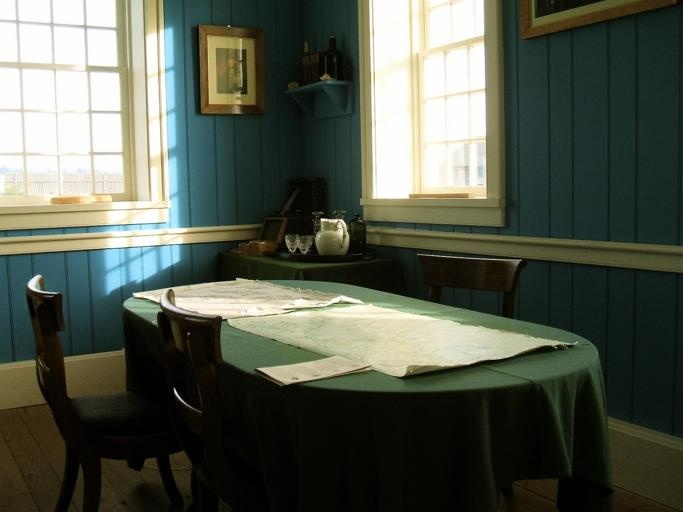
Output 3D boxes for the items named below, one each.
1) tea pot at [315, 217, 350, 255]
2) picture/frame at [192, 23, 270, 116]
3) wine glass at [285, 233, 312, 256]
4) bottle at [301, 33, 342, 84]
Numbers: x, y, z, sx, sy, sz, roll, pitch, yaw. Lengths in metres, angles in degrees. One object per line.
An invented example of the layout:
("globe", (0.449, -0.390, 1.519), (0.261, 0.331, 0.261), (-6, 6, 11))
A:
("tea pot", (-0.054, -0.112, 3.474), (0.173, 0.230, 0.222), (-1, 3, -36))
("picture/frame", (-0.832, -1.386, 4.153), (0.661, 0.840, 0.033), (-2, 3, -32))
("wine glass", (-0.271, -0.084, 3.643), (0.185, 0.156, 0.122), (1, 1, 6))
("bottle", (-0.133, -1.404, 4.051), (0.208, 0.311, 0.371), (-5, 10, -25))
